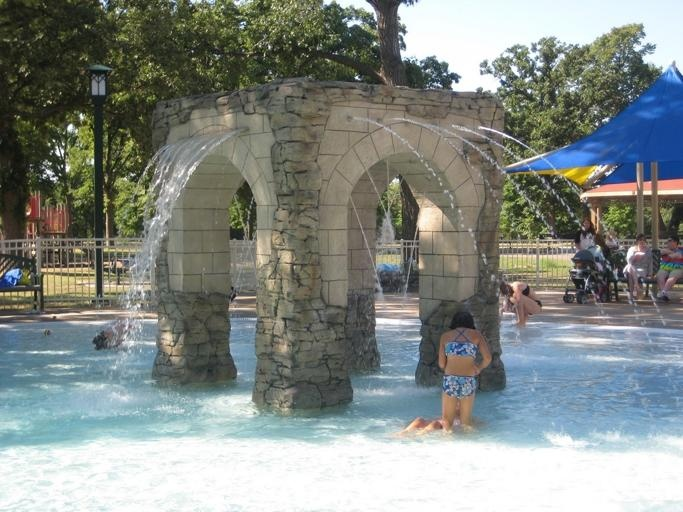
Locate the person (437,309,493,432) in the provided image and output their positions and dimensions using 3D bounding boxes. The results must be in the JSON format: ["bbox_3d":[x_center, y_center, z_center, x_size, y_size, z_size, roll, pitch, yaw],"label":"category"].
[{"bbox_3d":[1.555,1.459,9.461,0.639,1.404,0.495,-2,7,-12],"label":"person"}]

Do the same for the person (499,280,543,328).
[{"bbox_3d":[3.759,0.953,15.763,0.985,0.961,0.929,-2,7,-9],"label":"person"}]

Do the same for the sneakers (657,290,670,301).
[{"bbox_3d":[7.891,0.971,18.101,0.274,0.312,0.399,3,8,25],"label":"sneakers"}]
